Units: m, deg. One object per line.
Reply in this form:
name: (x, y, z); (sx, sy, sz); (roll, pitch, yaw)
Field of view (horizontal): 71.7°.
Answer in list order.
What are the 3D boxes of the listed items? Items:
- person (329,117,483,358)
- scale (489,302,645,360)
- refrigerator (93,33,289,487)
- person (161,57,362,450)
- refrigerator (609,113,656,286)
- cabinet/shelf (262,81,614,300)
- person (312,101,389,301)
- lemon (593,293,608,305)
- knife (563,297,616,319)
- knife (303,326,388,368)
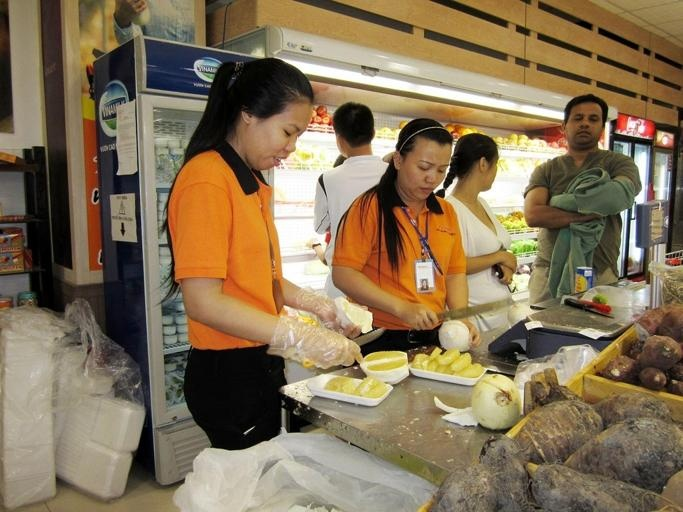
person: (0.407, -0.020, 2.266); (0.667, 1.168, 0.616); (-3, 14, -28)
scale: (0.930, 0.306, 1.979); (0.593, 0.179, 0.525); (-5, 8, -44)
refrigerator: (-0.985, 0.215, 3.111); (0.875, 2.837, 0.783); (-6, 13, -43)
person: (-0.295, 0.017, 1.735); (0.637, 1.422, 0.553); (-1, 11, -20)
refrigerator: (4.375, -1.005, 6.720); (0.455, 2.006, 0.709); (-15, 24, 2)
cabinet/shelf: (-0.181, -0.507, 4.391); (1.628, 1.261, 4.284); (8, 10, 43)
person: (0.028, -0.353, 3.417); (0.531, 1.369, 0.523); (-1, 15, -35)
lemon: (1.186, 0.204, 2.192); (0.057, 0.048, 0.046); (19, -11, 10)
knife: (1.050, 0.214, 2.035); (0.070, 0.033, 0.314); (-5, 3, -7)
knife: (0.077, 0.385, 2.083); (0.231, 0.038, 0.140); (-22, -3, -33)
